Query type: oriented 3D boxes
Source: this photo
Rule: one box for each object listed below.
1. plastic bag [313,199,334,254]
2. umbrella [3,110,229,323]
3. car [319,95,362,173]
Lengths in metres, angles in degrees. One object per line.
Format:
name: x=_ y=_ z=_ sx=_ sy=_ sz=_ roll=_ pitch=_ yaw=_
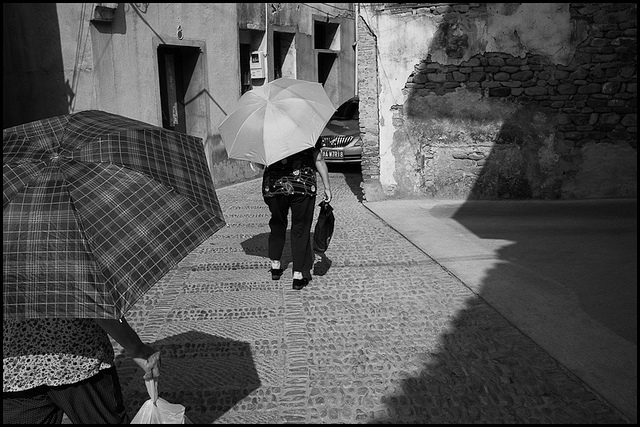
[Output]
plastic bag: x=0.055 y=0.188 z=6.024 sx=0.242 sy=0.790 sz=0.305 roll=2 pitch=16 yaw=-2
umbrella: x=-1.221 y=-0.012 z=2.563 sx=1.124 sy=0.864 sz=0.915 roll=-1 pitch=17 yaw=-15
car: x=0.670 y=-2.646 z=14.735 sx=1.687 sy=1.692 sz=3.895 roll=3 pitch=14 yaw=5
